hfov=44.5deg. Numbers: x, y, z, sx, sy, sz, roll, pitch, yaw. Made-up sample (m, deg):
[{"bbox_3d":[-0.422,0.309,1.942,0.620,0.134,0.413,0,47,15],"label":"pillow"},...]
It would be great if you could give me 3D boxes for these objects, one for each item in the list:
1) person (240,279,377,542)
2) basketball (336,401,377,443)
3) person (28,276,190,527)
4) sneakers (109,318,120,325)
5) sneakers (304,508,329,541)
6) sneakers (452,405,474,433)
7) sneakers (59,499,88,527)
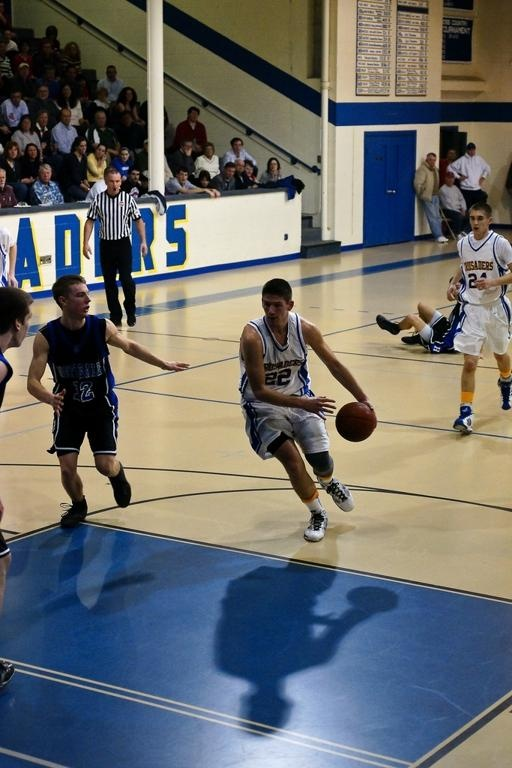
[{"bbox_3d":[0.232,0.166,3.557,0.711,1.499,0.734,2,4,31],"label":"person"},{"bbox_3d":[0.575,0.222,3.587,0.213,0.254,0.222,0,-6,16],"label":"basketball"},{"bbox_3d":[-0.956,0.148,3.607,0.709,1.468,0.597,-2,4,-26],"label":"person"},{"bbox_3d":[-2.199,-0.963,9.714,0.115,0.114,0.119,2,8,17],"label":"sneakers"},{"bbox_3d":[0.341,0.833,3.633,0.081,0.101,0.227,1,9,9],"label":"sneakers"},{"bbox_3d":[1.875,0.322,5.699,0.168,0.267,0.274,1,4,19],"label":"sneakers"},{"bbox_3d":[-1.113,0.792,3.858,0.081,0.092,0.234,2,16,11],"label":"sneakers"}]
